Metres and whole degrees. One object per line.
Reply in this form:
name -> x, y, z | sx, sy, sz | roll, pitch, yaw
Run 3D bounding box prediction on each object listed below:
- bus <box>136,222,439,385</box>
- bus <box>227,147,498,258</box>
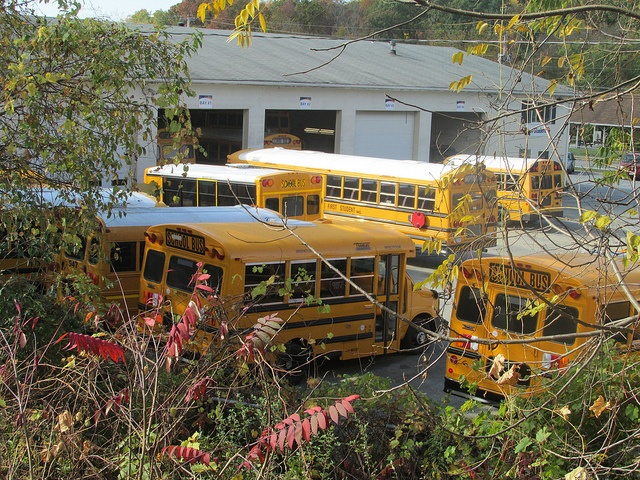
bus -> 0.147, 1.407, 12.621 | 5.594, 2.799, 3.040 | -6, 11, -34
bus -> 1.192, -1.112, 18.232 | 8.458, 2.727, 2.828 | 9, 15, 40
